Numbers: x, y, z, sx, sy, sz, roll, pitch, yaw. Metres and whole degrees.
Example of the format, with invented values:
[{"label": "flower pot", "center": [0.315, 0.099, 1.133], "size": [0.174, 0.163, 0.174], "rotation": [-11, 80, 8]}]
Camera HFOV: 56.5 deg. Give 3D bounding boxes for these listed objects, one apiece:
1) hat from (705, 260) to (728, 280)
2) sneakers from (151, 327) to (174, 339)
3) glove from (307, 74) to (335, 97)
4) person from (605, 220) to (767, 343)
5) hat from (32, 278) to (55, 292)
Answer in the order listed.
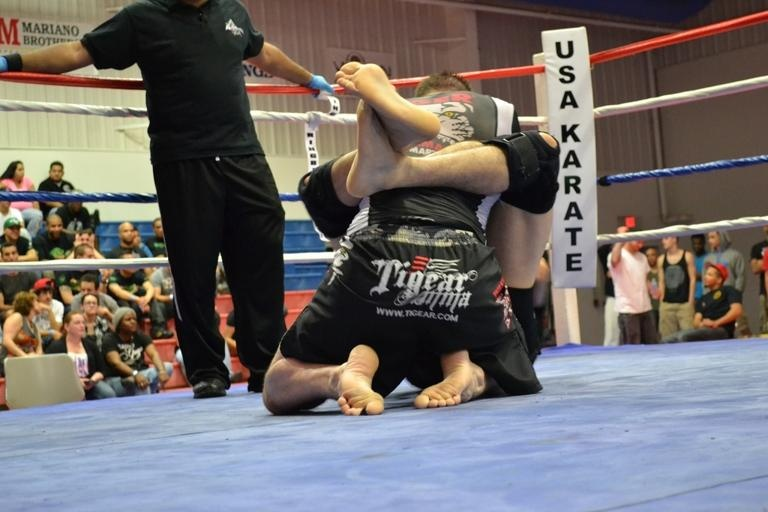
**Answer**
[{"label": "hat", "center": [3.015, 0.110, 6.426], "size": [0.273, 0.083, 0.171], "rotation": [27, -8, -26]}, {"label": "sneakers", "center": [-1.811, 0.636, 5.831], "size": [0.155, 0.093, 0.070], "rotation": [-1, -3, -8]}, {"label": "glove", "center": [-0.280, -0.766, 3.218], "size": [0.128, 0.066, 0.045], "rotation": [22, 7, -19]}, {"label": "person", "center": [2.793, 0.276, 6.796], "size": [1.140, 1.115, 2.173], "rotation": [-2, 1, 26]}, {"label": "hat", "center": [-2.614, 0.221, 5.501], "size": [0.140, 0.069, 0.099], "rotation": [3, 4, 35]}]
